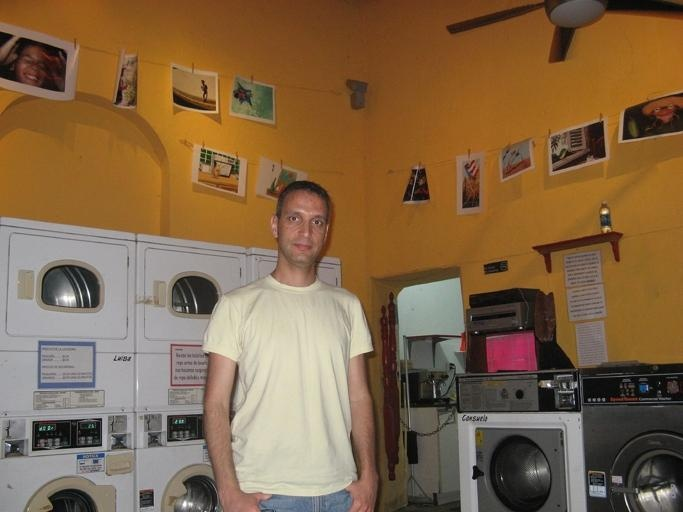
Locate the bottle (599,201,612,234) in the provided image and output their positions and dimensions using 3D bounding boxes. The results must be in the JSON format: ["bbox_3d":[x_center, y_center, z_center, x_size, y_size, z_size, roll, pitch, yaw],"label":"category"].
[{"bbox_3d":[2.149,-0.312,4.930,0.094,0.287,0.141,-8,-14,24],"label":"bottle"}]
